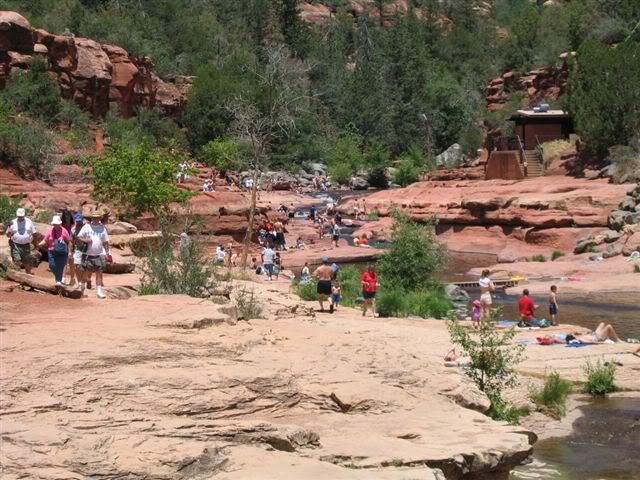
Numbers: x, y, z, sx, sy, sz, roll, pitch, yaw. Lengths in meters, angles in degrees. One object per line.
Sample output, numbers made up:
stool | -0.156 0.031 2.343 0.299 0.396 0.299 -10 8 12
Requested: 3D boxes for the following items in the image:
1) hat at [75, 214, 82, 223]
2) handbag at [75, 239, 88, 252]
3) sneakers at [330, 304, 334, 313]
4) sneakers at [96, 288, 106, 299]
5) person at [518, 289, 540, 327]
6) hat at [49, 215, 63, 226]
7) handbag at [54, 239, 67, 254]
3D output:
hat | -7.373 -0.631 29.510 0.242 0.211 0.381 -3 1 -16
handbag | -7.311 0.198 29.548 0.264 0.353 0.559 -3 1 -30
sneakers | 0.397 2.442 33.978 0.089 0.293 0.187 0 -4 0
sneakers | -6.689 1.643 29.546 0.258 0.279 0.653 -3 1 -13
person | 7.405 2.499 34.439 0.890 1.543 0.864 5 18 30
hat | -8.053 -0.594 29.633 0.363 0.200 0.525 -3 12 0
handbag | -7.992 0.197 29.703 0.362 0.497 0.186 -9 1 -29
